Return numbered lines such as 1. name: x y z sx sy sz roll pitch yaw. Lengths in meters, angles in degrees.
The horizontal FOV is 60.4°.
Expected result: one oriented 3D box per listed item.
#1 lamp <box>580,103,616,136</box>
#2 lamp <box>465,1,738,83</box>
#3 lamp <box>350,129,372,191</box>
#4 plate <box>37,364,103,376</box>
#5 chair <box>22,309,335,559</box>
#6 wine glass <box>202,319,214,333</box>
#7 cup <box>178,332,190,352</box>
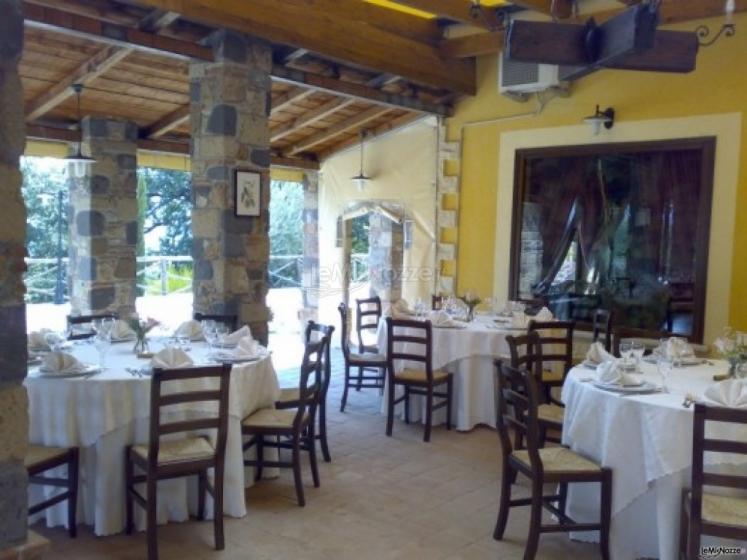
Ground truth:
1. lamp: 2.342 -1.702 6.803 0.339 0.377 0.317 3 -1 -24
2. lamp: 1.560 -1.621 4.328 0.966 0.355 1.155 9 11 40
3. lamp: -0.159 -1.681 8.919 0.268 0.823 0.697 1 8 -2
4. plate: -1.925 0.567 4.081 0.372 0.056 0.187 -2 9 -24
5. chair: -1.526 0.873 4.249 1.303 0.782 1.297 0 -1 -29
6. wine glass: -1.194 0.334 4.664 0.085 0.098 0.087 2 -2 -7
7. cup: -1.344 0.449 4.678 0.116 0.134 0.150 -3 4 -25
